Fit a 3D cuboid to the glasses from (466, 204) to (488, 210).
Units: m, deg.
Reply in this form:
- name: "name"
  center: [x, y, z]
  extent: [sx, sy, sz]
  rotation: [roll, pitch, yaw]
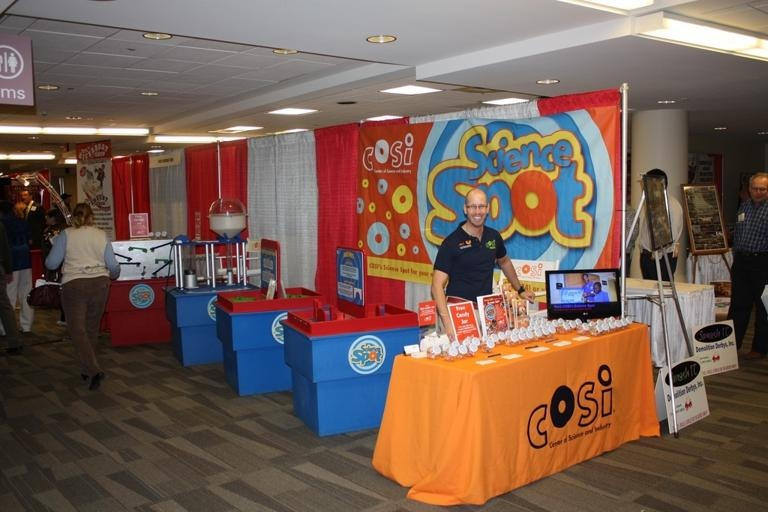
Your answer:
- name: "glasses"
  center: [0.807, -0.433, 4.421]
  extent: [0.193, 0.048, 0.080]
  rotation: [-4, 10, -13]

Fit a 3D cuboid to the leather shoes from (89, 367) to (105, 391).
- name: "leather shoes"
  center: [-3.350, 1.445, 5.990]
  extent: [0.120, 0.246, 0.116]
  rotation: [22, -1, 35]

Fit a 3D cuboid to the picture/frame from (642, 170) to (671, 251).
- name: "picture/frame"
  center: [2.549, -0.390, 4.804]
  extent: [0.246, 0.769, 0.693]
  rotation: [5, 12, 32]

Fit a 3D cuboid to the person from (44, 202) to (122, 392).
- name: "person"
  center: [-3.467, 0.470, 5.980]
  extent: [0.687, 2.158, 0.463]
  rotation: [-9, 13, -33]

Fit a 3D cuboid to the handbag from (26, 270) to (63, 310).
- name: "handbag"
  center: [-5.100, 0.595, 7.782]
  extent: [0.508, 0.405, 0.205]
  rotation: [7, 23, -3]

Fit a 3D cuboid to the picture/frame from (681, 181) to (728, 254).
- name: "picture/frame"
  center: [5.981, -0.673, 9.497]
  extent: [1.153, 1.331, 0.551]
  rotation: [-11, 14, -41]

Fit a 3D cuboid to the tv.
- name: "tv"
  center: [1.754, 0.358, 4.540]
  extent: [0.786, 0.449, 0.206]
  rotation: [-2, -1, -18]
